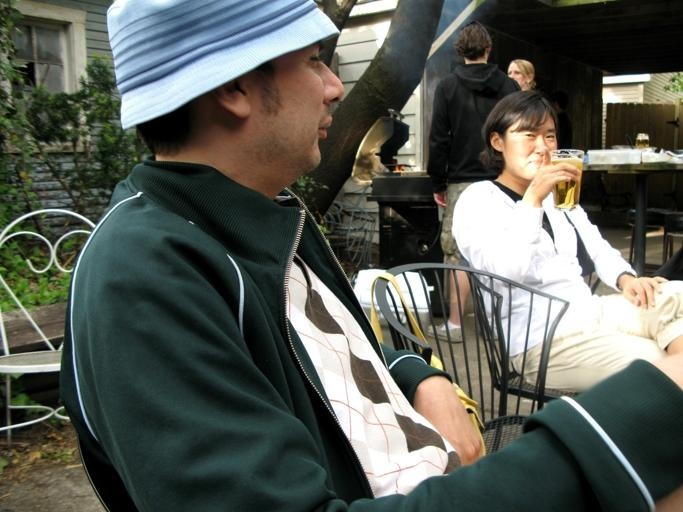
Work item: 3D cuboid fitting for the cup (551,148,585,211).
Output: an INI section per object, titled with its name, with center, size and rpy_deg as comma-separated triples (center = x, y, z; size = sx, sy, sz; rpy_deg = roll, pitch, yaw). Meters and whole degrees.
[cup]
center = 0.992, -0.336, 2.682
size = 0.144, 0.261, 0.146
rpy_deg = 4, -3, 0
